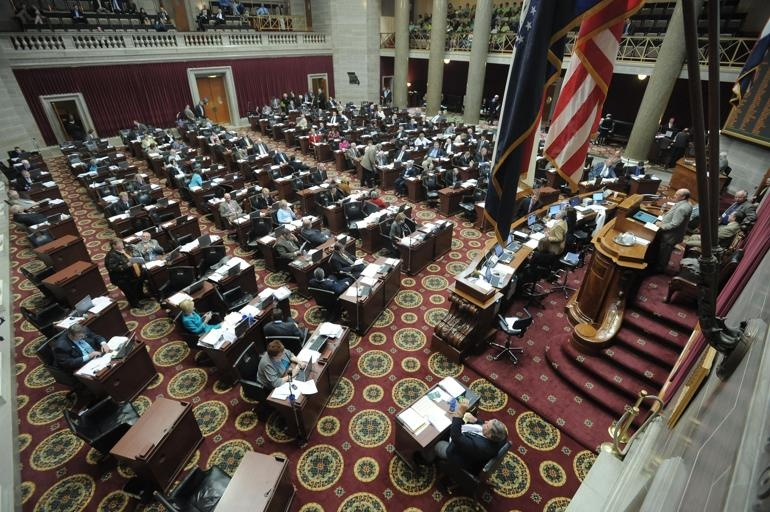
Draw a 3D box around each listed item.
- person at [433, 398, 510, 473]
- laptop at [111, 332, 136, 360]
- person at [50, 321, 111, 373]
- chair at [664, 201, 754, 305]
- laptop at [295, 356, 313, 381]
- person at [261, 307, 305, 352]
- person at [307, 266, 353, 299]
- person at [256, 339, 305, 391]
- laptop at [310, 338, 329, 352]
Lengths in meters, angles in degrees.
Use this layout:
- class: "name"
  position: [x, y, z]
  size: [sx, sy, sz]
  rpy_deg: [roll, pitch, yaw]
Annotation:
- class: "person"
  position: [1.413, 2.995, 7.176]
  size: [1.057, 1.106, 0.754]
  rpy_deg: [14, 35, 26]
- class: "laptop"
  position: [-5.099, 1.731, 8.451]
  size: [0.485, 0.174, 0.477]
  rpy_deg: [15, 32, 16]
- class: "person"
  position: [-5.807, 1.678, 8.301]
  size: [0.752, 0.798, 0.837]
  rpy_deg: [24, 40, 37]
- class: "chair"
  position: [5.468, -0.030, 7.375]
  size: [1.848, 1.196, 0.686]
  rpy_deg: [-38, 39, -22]
- class: "laptop"
  position: [-1.464, 2.064, 8.032]
  size: [0.280, 0.284, 0.402]
  rpy_deg: [2, 23, 10]
- class: "person"
  position: [-2.071, 1.490, 8.833]
  size: [0.479, 1.136, 0.647]
  rpy_deg: [-9, 45, 13]
- class: "person"
  position: [-1.221, 0.603, 9.881]
  size: [0.348, 0.760, 0.431]
  rpy_deg: [22, 66, 15]
- class: "person"
  position: [-1.910, 2.027, 8.096]
  size: [0.527, 0.780, 0.476]
  rpy_deg: [1, 53, 5]
- class: "laptop"
  position: [-1.236, 1.690, 8.489]
  size: [0.241, 0.132, 0.332]
  rpy_deg: [17, 36, 30]
